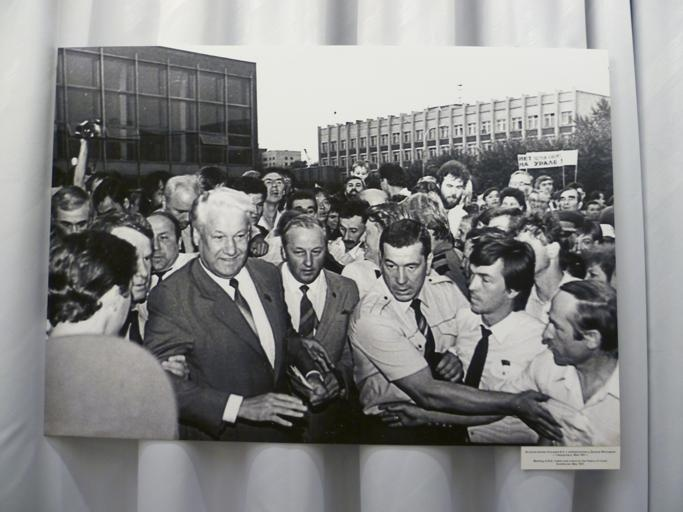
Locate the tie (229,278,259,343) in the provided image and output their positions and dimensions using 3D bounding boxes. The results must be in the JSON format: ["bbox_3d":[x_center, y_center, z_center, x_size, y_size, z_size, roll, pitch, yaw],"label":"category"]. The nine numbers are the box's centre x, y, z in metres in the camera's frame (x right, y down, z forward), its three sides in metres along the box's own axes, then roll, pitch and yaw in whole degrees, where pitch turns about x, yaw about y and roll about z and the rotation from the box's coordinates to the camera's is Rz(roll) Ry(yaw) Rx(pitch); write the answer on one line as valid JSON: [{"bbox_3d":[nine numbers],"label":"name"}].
[{"bbox_3d":[-0.369,0.201,2.799,0.062,0.269,0.015,-23,0,-3],"label":"tie"}]

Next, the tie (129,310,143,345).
[{"bbox_3d":[-0.788,0.277,2.801,0.072,0.112,0.030,0,2,-2],"label":"tie"}]

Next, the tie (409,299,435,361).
[{"bbox_3d":[0.313,0.285,2.790,0.124,0.190,0.051,-20,14,-35],"label":"tie"}]
